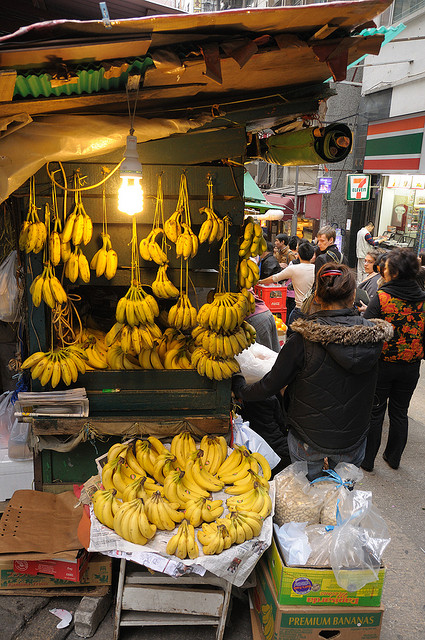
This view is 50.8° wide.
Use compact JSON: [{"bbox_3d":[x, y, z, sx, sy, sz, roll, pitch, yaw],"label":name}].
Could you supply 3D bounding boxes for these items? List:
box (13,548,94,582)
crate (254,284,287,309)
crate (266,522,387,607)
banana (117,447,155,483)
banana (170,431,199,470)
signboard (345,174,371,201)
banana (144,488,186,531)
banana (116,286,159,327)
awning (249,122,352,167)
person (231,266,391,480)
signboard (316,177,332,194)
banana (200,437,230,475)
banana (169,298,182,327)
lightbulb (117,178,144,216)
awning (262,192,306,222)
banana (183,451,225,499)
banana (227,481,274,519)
[{"bbox_3d":[-0.899,1.369,2.494,0.434,0.208,0.145,-1,14,-2],"label":"box"},{"bbox_3d":[1.093,-0.446,8.543,0.625,0.499,0.416,2,15,13],"label":"crate"},{"bbox_3d":[0.526,1.138,2.068,0.415,0.171,0.405,2,8,3],"label":"crate"},{"bbox_3d":[-0.429,0.814,2.496,0.060,0.173,0.030,-44,-11,27],"label":"banana"},{"bbox_3d":[-0.172,0.770,2.655,0.101,0.074,0.202,-10,34,7],"label":"banana"},{"bbox_3d":[3.663,-3.390,11.380,0.552,0.628,0.475,5,15,21],"label":"signboard"},{"bbox_3d":[-0.222,0.912,2.137,0.111,0.162,0.109,-25,30,-24],"label":"banana"},{"bbox_3d":[-0.414,-0.066,2.509,0.229,0.307,0.220,2,0,-32],"label":"banana"},{"bbox_3d":[0.645,-1.227,3.179,0.233,0.271,0.996,-5,15,-18],"label":"awning"},{"bbox_3d":[0.561,0.321,2.490,0.738,1.229,0.381,5,16,22],"label":"person"},{"bbox_3d":[3.969,-4.803,15.936,0.457,0.536,0.907,2,14,10],"label":"signboard"},{"bbox_3d":[0.014,0.808,2.679,0.102,0.077,0.203,-5,34,3],"label":"banana"},{"bbox_3d":[-0.232,-0.040,2.681,0.067,0.178,0.039,24,-8,-14],"label":"banana"},{"bbox_3d":[-0.389,-0.586,2.127,0.103,0.160,0.096,0,15,5],"label":"lightbulb"},{"bbox_3d":[3.124,-4.796,19.090,1.583,1.259,2.143,2,15,11],"label":"awning"},{"bbox_3d":[-0.060,0.864,2.471,0.149,0.140,0.246,27,7,-29],"label":"banana"},{"bbox_3d":[0.193,0.903,2.242,0.166,0.088,0.123,-1,8,22],"label":"banana"}]
